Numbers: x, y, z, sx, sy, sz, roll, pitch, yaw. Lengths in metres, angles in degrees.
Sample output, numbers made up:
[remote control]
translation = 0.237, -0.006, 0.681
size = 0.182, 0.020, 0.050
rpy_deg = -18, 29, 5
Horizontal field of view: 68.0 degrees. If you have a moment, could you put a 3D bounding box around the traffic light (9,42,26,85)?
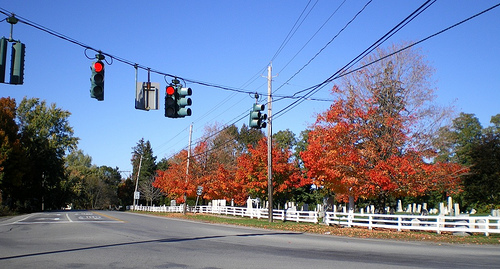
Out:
[traffic light]
translation = -15.730, -4.689, 25.036
size = 0.972, 3.084, 0.803
rpy_deg = 12, -16, -34
